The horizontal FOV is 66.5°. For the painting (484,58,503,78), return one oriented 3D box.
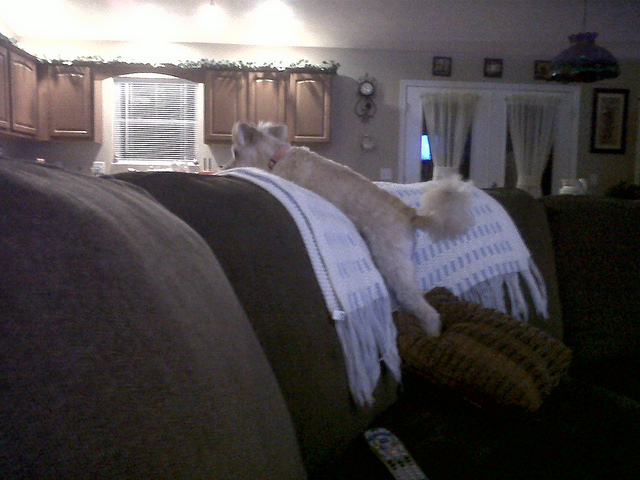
[{"bbox_3d":[1.761,-1.767,4.997,0.190,0.191,0.027,1,-1,1],"label":"painting"}]

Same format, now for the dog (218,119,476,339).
[{"bbox_3d":[0.023,-0.040,0.920,0.508,0.286,0.123,21,19,20],"label":"dog"}]

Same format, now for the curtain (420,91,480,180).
[{"bbox_3d":[1.306,-0.996,5.032,0.653,1.097,0.098,2,-1,9],"label":"curtain"}]
